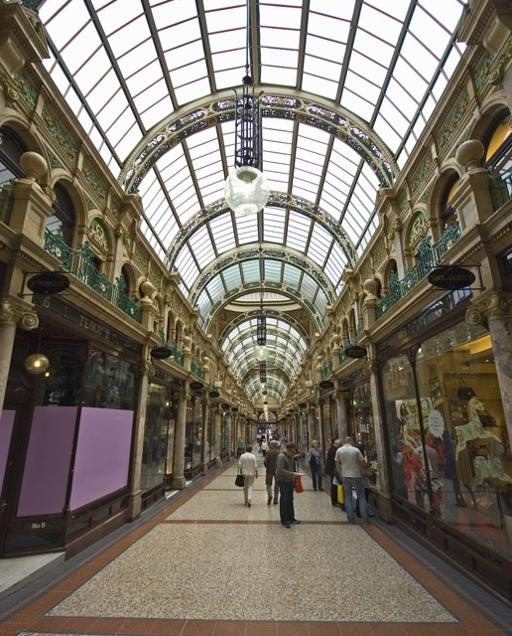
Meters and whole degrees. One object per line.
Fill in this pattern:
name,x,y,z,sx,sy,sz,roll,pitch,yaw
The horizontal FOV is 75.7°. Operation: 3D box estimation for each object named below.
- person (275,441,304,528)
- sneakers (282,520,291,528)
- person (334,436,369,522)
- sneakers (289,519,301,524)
person,0.710,3.612,7.405,0.537,1.643,1.031,-3,-19,5
sneakers,0.625,4.223,6.855,0.205,0.083,0.222,2,-18,-9
person,2.119,3.465,7.258,0.659,1.663,0.500,-7,-22,15
sneakers,0.824,4.350,7.148,0.237,0.153,0.072,2,-57,3
